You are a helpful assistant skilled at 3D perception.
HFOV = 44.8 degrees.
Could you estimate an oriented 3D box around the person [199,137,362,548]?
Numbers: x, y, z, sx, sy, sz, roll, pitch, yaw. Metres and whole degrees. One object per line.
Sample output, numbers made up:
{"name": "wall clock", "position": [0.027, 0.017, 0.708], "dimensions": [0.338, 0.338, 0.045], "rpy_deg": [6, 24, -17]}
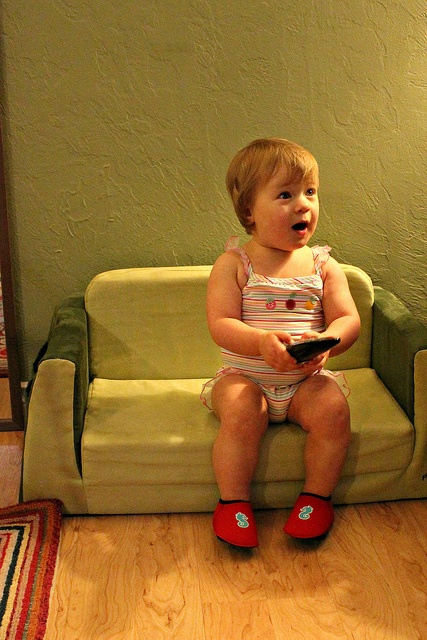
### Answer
{"name": "person", "position": [0.172, 0.027, 1.170], "dimensions": [0.371, 0.870, 0.427], "rpy_deg": [-1, 12, -6]}

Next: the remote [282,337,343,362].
{"name": "remote", "position": [0.181, 0.064, 0.993], "dimensions": [0.125, 0.032, 0.037], "rpy_deg": [-20, 36, 38]}

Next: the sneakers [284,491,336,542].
{"name": "sneakers", "position": [0.202, 0.406, 1.086], "dimensions": [0.068, 0.051, 0.125], "rpy_deg": [-3, -2, 18]}

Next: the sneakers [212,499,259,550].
{"name": "sneakers", "position": [0.044, 0.437, 1.072], "dimensions": [0.083, 0.119, 0.093], "rpy_deg": [0, 12, -3]}
